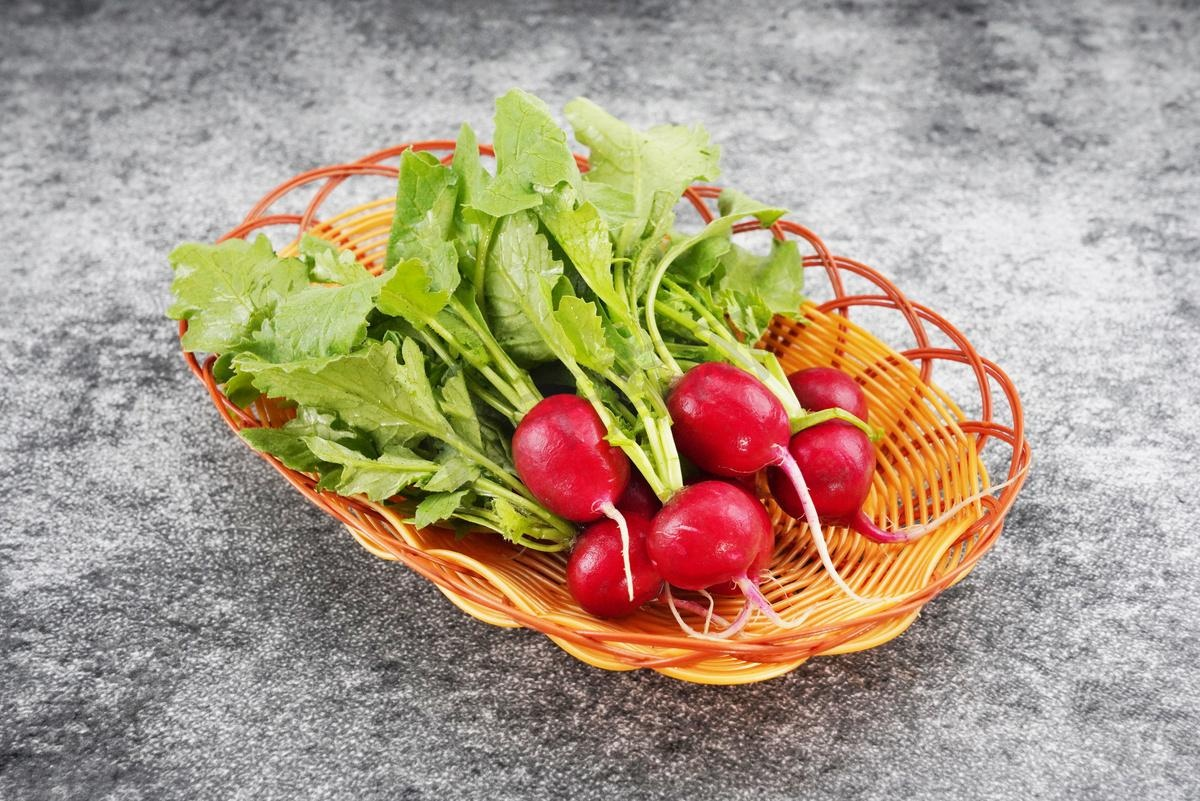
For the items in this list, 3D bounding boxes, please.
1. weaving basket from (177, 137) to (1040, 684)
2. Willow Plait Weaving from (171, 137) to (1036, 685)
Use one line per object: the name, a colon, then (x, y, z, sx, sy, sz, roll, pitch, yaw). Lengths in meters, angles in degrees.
weaving basket: (-0.054, 0.007, 1.826, 1.191, 0.183, 0.748, 26, 41, 25)
Willow Plait Weaving: (-0.048, 0.001, 1.832, 1.191, 0.185, 0.748, 26, 41, 26)
